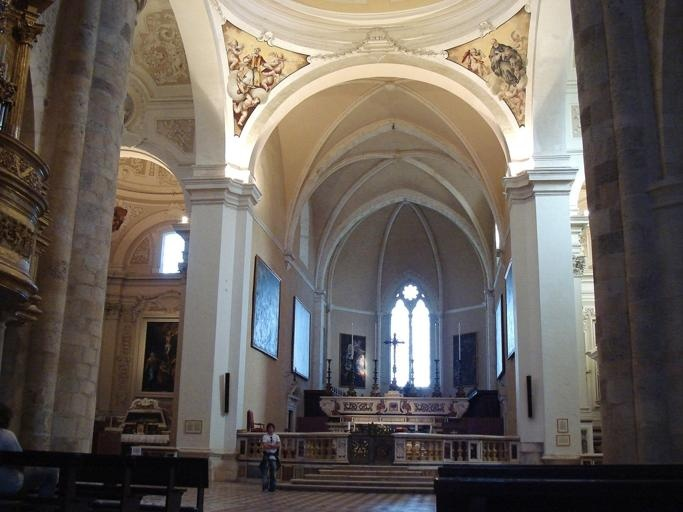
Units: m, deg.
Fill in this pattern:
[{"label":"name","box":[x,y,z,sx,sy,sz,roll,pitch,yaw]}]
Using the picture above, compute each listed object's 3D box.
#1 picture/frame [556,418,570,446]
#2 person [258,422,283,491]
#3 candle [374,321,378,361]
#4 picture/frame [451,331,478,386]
[{"label":"picture/frame","box":[4.567,3.622,12.925,0.303,0.569,0.061,3,-19,-6]},{"label":"person","box":[-1.393,3.913,12.313,0.379,1.303,1.150,3,-20,-5]},{"label":"candle","box":[1.543,3.628,27.421,0.206,1.656,0.156,2,-19,-2]},{"label":"picture/frame","box":[5.034,4.237,25.626,0.431,2.377,1.469,11,-22,-26]}]
